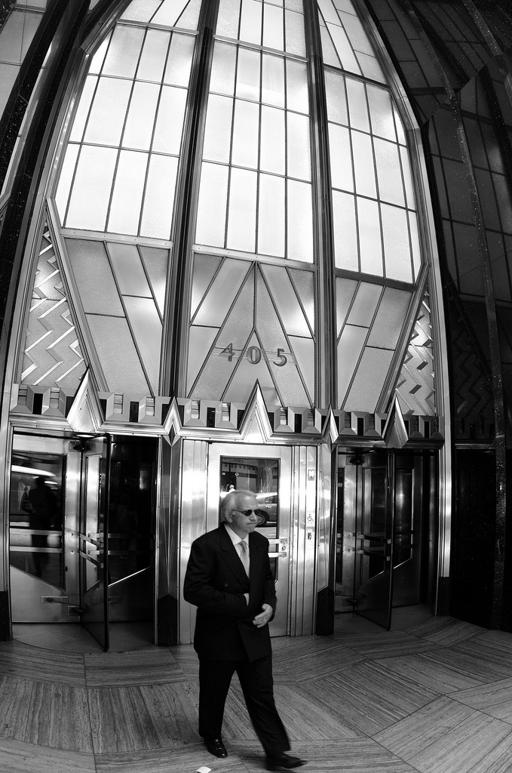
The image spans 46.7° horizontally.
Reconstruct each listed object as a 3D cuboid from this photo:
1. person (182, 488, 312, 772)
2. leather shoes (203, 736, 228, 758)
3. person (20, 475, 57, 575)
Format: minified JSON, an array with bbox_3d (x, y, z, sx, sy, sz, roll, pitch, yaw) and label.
[{"bbox_3d":[-0.075,1.307,3.203,0.578,1.479,0.507,1,-8,5],"label":"person"},{"bbox_3d":[-0.229,2.031,3.370,0.060,0.089,0.186,4,-17,-26],"label":"leather shoes"},{"bbox_3d":[-2.329,1.479,6.339,0.386,1.030,0.130,5,-8,-26],"label":"person"}]
